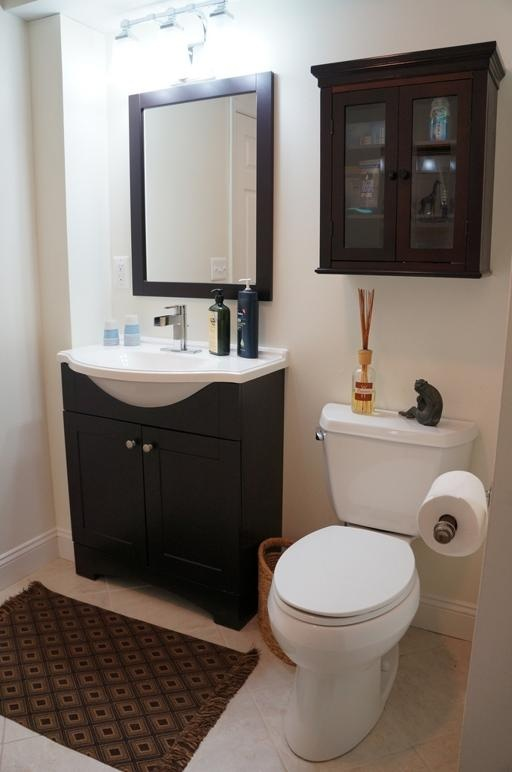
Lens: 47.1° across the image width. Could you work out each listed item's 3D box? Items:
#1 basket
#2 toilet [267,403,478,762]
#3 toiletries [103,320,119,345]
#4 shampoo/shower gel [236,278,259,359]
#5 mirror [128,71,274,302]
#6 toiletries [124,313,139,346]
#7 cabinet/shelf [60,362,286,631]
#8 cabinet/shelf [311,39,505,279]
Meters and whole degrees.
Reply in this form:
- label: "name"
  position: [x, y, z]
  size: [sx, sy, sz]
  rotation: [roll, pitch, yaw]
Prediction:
- label: "basket"
  position: [0.012, 0.632, 1.797]
  size: [0.166, 0.240, 0.242]
  rotation: [-2, 10, -9]
- label: "toilet"
  position: [0.279, 0.464, 1.434]
  size: [0.412, 0.690, 0.551]
  rotation: [11, 18, 26]
- label: "toiletries"
  position: [-0.534, -0.195, 2.150]
  size: [0.052, 0.090, 0.123]
  rotation: [-3, 9, -16]
- label: "shampoo/shower gel"
  position: [-0.030, -0.192, 1.870]
  size: [0.069, 0.215, 0.068]
  rotation: [1, 8, 9]
- label: "mirror"
  position: [-0.169, -0.691, 1.964]
  size: [0.600, 0.868, 0.025]
  rotation: [9, 15, 36]
- label: "toiletries"
  position: [-0.457, -0.204, 2.155]
  size: [0.055, 0.111, 0.135]
  rotation: [-2, 9, -11]
- label: "cabinet/shelf"
  position: [-0.237, 0.334, 1.811]
  size: [0.549, 0.743, 0.286]
  rotation: [7, 16, 27]
- label: "cabinet/shelf"
  position: [0.387, -0.550, 1.437]
  size: [0.458, 0.667, 0.237]
  rotation: [5, 13, 30]
